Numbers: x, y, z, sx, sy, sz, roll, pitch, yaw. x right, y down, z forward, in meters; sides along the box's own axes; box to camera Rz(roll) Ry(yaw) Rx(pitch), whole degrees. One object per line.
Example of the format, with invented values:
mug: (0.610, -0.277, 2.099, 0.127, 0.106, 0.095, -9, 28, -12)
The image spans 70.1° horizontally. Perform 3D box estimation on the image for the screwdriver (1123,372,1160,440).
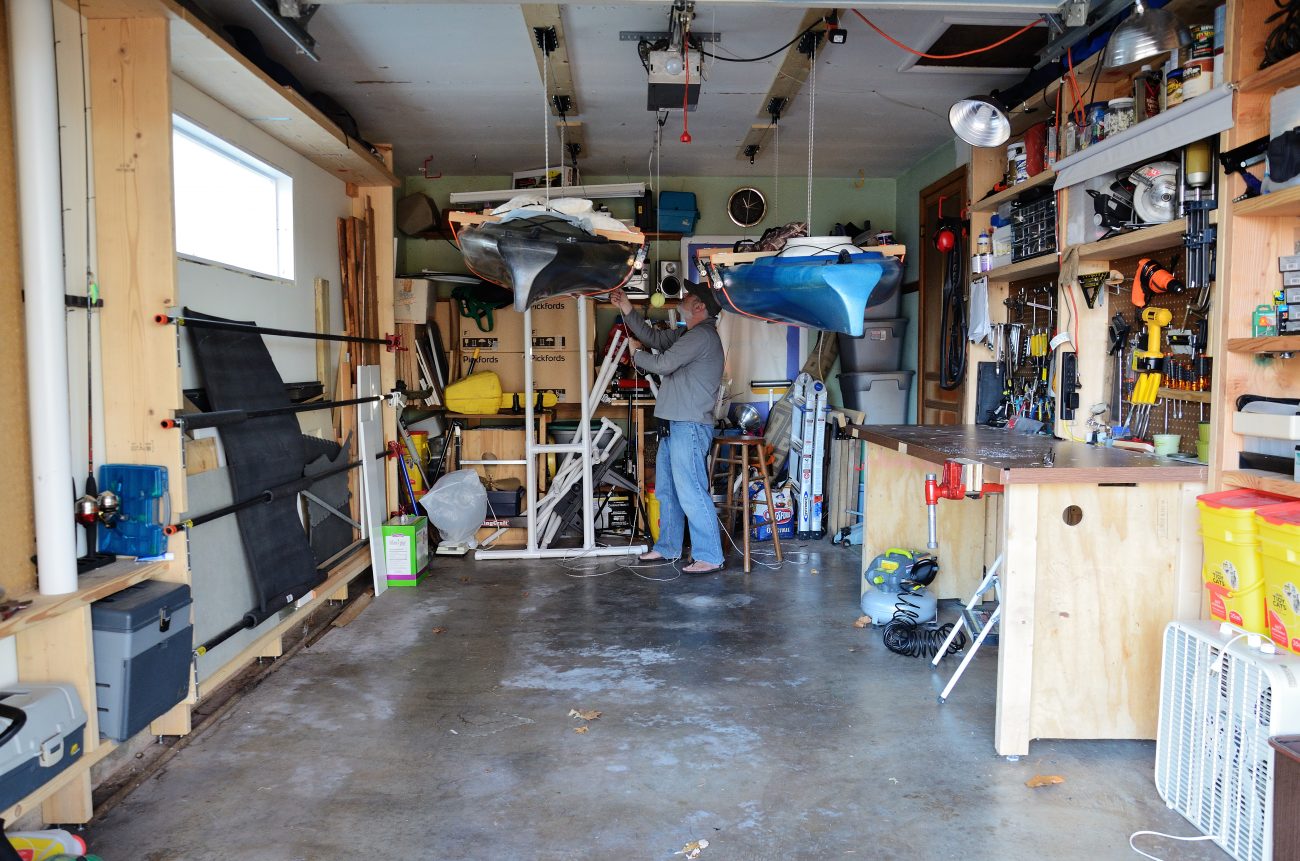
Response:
screwdriver: (2.641, -0.134, 4.978, 0.127, 0.368, 0.062, 12, 49, 29)

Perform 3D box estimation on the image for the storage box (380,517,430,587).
storage box: (-1.775, 0.871, 6.728, 0.237, 0.462, 0.407, -1, 2, 0)

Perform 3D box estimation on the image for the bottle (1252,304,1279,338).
bottle: (2.796, -0.501, 4.222, 0.093, 0.146, 0.086, -1, 2, 0)

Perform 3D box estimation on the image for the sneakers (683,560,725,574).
sneakers: (0.383, 1.012, 6.881, 0.245, 0.063, 0.111, 2, -1, -9)

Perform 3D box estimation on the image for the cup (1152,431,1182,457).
cup: (2.622, 0.067, 4.698, 0.124, 0.087, 0.121, 0, -3, 0)

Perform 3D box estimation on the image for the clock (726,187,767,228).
clock: (0.902, -2.073, 8.625, 0.396, 0.347, 0.370, 3, 13, 6)

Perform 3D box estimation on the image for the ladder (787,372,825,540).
ladder: (1.331, 0.210, 7.862, 0.309, 1.359, 0.227, 0, 3, 19)

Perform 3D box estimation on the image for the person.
person: (0.172, -0.012, 7.163, 0.762, 2.129, 0.858, -1, 2, -1)

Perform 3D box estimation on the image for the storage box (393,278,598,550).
storage box: (-1.423, -0.278, 8.581, 1.911, 2.674, 2.854, 1, 6, 0)

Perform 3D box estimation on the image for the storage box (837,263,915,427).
storage box: (2.020, -0.674, 8.132, 0.634, 1.219, 0.625, -1, 2, -1)
